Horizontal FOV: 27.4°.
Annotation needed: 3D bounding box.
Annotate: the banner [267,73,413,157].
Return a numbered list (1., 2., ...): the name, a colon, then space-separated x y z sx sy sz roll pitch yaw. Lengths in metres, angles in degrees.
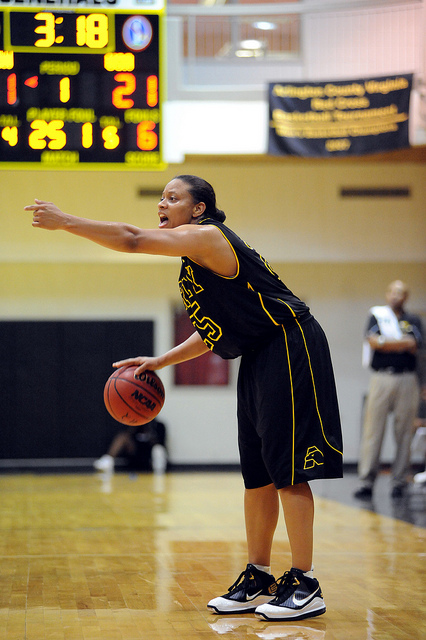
1. banner: 1.016 -1.618 7.043 1.199 0.616 0.047 2 7 21

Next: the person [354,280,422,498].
1. person: 1.323 0.520 6.547 0.422 1.421 1.062 3 19 11

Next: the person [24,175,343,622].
1. person: -0.183 0.131 2.708 0.858 1.490 0.911 7 -2 38

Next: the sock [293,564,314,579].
1. sock: 0.278 0.766 2.679 0.033 0.035 0.044 -4 -7 42

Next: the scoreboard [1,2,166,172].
1. scoreboard: -0.963 -1.652 6.209 1.394 1.192 0.091 0 -1 -7

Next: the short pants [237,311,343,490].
1. short pants: 0.242 0.284 2.842 0.296 0.492 0.398 -2 -6 -25
